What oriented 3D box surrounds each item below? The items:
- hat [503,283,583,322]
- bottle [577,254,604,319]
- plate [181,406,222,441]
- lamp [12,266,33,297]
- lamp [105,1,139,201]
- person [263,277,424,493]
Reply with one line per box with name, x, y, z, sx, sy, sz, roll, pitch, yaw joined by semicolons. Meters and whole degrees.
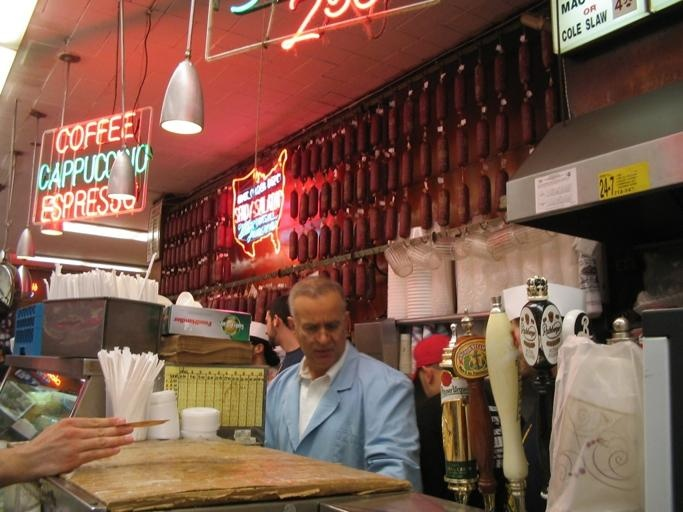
hat;0.622;0.160;1.693;0.151;0.097;0.214;1;-13;-2
bottle;1.597;0.176;3.573;0.130;0.381;0.273;-7;-14;25
plate;-0.552;0.661;2.195;0.112;0.094;0.120;-2;-7;16
lamp;-3.613;0.284;6.345;0.089;0.423;0.397;-7;-5;-8
lamp;-1.944;-1.420;4.976;0.234;2.126;0.259;-9;-40;-4
person;0.004;0.511;2.566;0.327;0.932;1.081;7;-16;-35
